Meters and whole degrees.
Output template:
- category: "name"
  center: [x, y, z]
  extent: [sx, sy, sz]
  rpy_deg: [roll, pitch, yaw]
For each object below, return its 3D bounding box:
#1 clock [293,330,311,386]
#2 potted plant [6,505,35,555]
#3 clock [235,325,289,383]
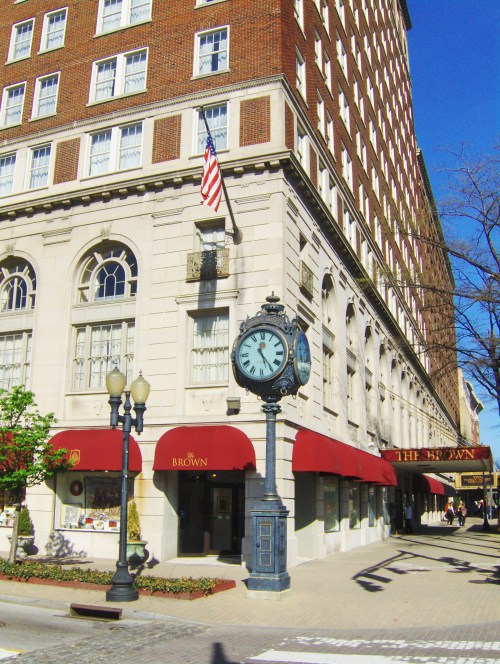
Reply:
- category: "clock"
  center: [1.096, 0.589, 15.594]
  extent: [0.108, 1.336, 1.324]
  rpy_deg: [-6, -21, 20]
- category: "potted plant"
  center: [-6.309, 5.693, 20.758]
  extent: [0.539, 1.515, 2.721]
  rpy_deg: [6, -19, -15]
- category: "clock"
  center: [0.288, 0.500, 15.122]
  extent: [1.144, 1.191, 0.128]
  rpy_deg: [-4, -24, 24]
